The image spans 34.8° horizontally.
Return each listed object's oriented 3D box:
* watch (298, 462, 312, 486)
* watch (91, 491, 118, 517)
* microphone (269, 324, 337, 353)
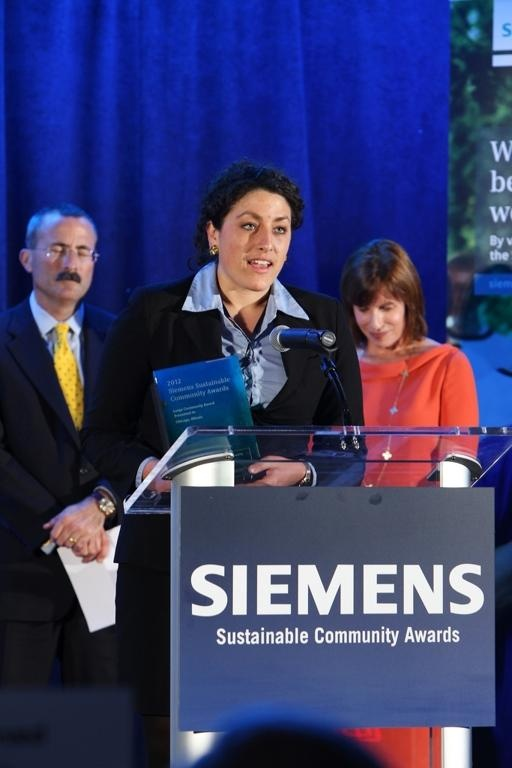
[{"bbox_3d":[0.071,0.130,1.171,0.017,0.029,0.033,-3,2,9],"label":"watch"},{"bbox_3d":[-0.460,0.358,2.480,0.023,0.075,0.082,-35,-31,-8],"label":"watch"},{"bbox_3d":[0.082,-0.081,1.535,0.110,0.049,0.165,-3,1,-7],"label":"microphone"}]
